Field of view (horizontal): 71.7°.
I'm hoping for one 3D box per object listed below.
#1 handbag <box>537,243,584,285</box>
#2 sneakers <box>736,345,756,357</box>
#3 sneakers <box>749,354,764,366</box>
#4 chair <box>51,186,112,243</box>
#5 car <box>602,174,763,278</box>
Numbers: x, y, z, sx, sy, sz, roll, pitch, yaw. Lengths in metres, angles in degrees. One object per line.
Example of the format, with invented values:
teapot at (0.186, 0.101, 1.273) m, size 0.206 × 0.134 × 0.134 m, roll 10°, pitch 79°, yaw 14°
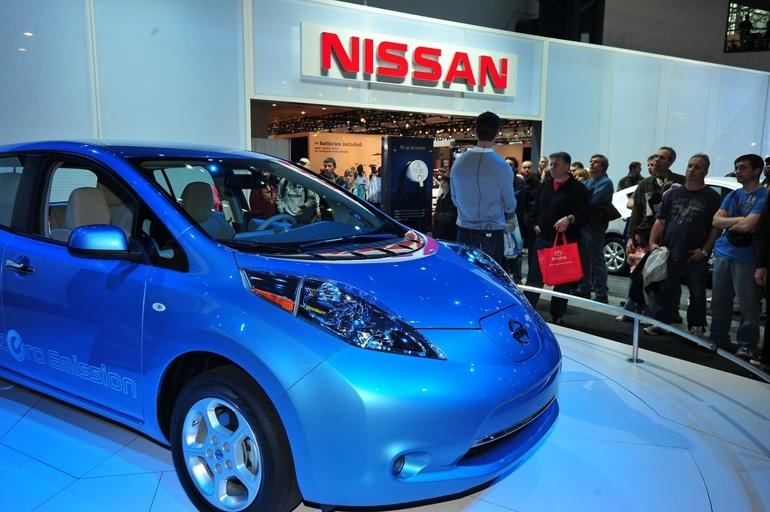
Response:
handbag at (1.749, 0.069, 5.377) m, size 0.352 × 0.493 × 0.173 m, roll -9°, pitch 5°, yaw 37°
sneakers at (3.353, 0.894, 4.960) m, size 0.089 × 0.075 × 0.171 m, roll -46°, pitch 30°, yaw -22°
sneakers at (3.389, 0.958, 4.871) m, size 0.118 × 0.040 × 0.109 m, roll -21°, pitch 27°, yaw -40°
chair at (-1.877, -0.259, 3.378) m, size 0.385 × 0.437 × 0.304 m, roll 0°, pitch 3°, yaw 41°
car at (4.339, -0.368, 7.627) m, size 2.241 × 1.159 × 1.325 m, roll -2°, pitch 5°, yaw 21°
